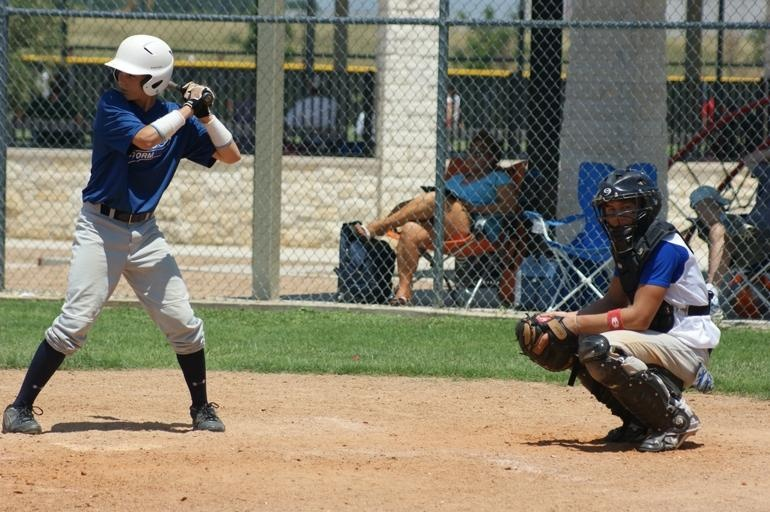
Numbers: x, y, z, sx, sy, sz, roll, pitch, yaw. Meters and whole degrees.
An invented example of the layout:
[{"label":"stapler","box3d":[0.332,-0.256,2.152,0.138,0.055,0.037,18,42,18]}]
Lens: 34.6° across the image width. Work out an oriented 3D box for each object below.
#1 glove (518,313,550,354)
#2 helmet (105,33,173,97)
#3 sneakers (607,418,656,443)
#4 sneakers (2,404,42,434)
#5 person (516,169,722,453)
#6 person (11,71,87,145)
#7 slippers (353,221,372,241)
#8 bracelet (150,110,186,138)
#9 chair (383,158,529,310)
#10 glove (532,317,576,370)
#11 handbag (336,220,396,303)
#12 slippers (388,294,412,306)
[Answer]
[{"label":"glove","box3d":[1.234,0.640,10.685,0.323,0.335,0.250,-4,12,-13]},{"label":"helmet","box3d":[-2.012,-1.627,10.522,0.552,0.433,0.418,-4,22,-36]},{"label":"sneakers","box3d":[2.099,1.517,10.684,0.395,0.183,0.157,0,1,0]},{"label":"sneakers","box3d":[-3.035,1.390,10.423,0.406,0.181,0.161,0,-2,30]},{"label":"person","box3d":[2.047,0.453,10.480,1.456,2.360,0.539,2,4,15]},{"label":"person","box3d":[-5.676,-2.557,21.246,0.966,1.309,0.409,-1,-13,20]},{"label":"slippers","box3d":[-0.244,-0.282,14.058,0.216,0.121,0.090,35,-5,-17]},{"label":"bracelet","box3d":[-1.774,-1.100,10.315,0.290,0.171,0.138,-31,-5,-21]},{"label":"chair","box3d":[0.868,-0.321,14.929,1.662,2.240,1.561,3,-1,-16]},{"label":"glove","box3d":[1.447,0.763,10.635,0.416,0.421,0.315,1,10,-22]},{"label":"handbag","box3d":[-0.204,0.083,14.064,0.763,0.936,0.544,9,-16,-38]},{"label":"slippers","box3d":[0.147,0.508,13.924,0.207,0.097,0.105,7,-9,-42]}]
